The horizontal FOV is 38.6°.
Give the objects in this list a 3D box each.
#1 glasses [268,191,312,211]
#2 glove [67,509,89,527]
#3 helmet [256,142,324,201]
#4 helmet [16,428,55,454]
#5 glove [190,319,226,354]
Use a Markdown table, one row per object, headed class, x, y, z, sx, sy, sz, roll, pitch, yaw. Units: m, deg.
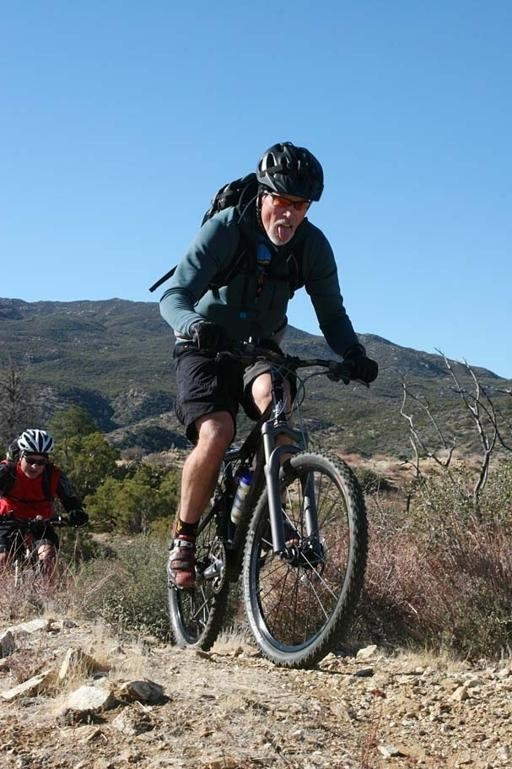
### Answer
| class | x | y | z | sx | sy | sz | roll | pitch | yaw |
| --- | --- | --- | --- | --- | --- | --- | --- | --- | --- |
| glasses | 0.175 | -0.999 | 4.036 | 0.256 | 0.094 | 0.143 | 2 | 1 | -12 |
| glove | -2.005 | 1.503 | 8.035 | 0.257 | 0.095 | 0.195 | 9 | 12 | 42 |
| helmet | 0.185 | -1.179 | 4.023 | 0.361 | 0.300 | 0.223 | 2 | 1 | 0 |
| helmet | -2.407 | 0.642 | 7.913 | 0.355 | 0.223 | 0.325 | 2 | 1 | -20 |
| glove | -0.219 | -0.221 | 3.381 | 0.114 | 0.071 | 0.151 | 12 | -2 | -30 |
